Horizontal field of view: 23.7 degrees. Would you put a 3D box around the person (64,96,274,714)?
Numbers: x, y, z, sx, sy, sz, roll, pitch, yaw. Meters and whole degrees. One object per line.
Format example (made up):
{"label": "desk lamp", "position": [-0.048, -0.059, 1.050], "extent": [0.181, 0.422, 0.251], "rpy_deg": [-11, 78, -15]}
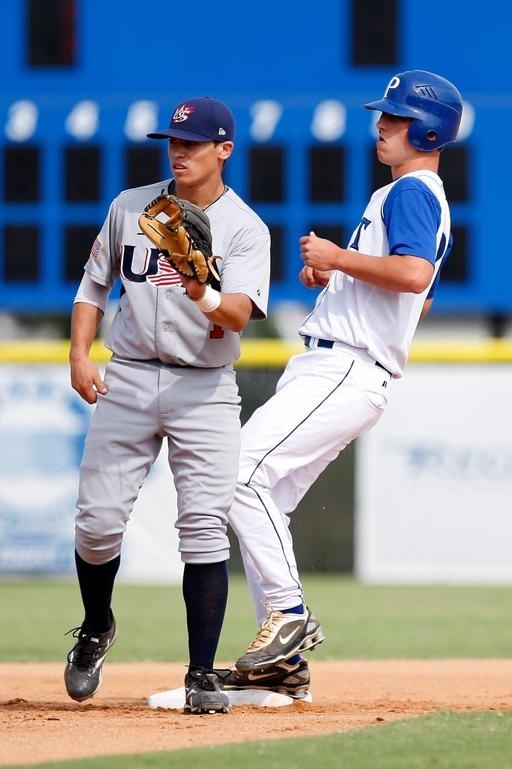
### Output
{"label": "person", "position": [-0.309, 0.045, 3.456], "extent": [0.650, 1.742, 0.415], "rpy_deg": [-3, -7, 27]}

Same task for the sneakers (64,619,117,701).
{"label": "sneakers", "position": [-0.503, 0.795, 3.614], "extent": [0.118, 0.258, 0.114], "rpy_deg": [8, -31, 5]}

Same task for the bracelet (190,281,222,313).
{"label": "bracelet", "position": [-0.123, -0.221, 3.185], "extent": [0.076, 0.073, 0.061], "rpy_deg": [36, -17, 7]}

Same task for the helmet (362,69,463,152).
{"label": "helmet", "position": [0.465, -0.845, 3.766], "extent": [0.315, 0.207, 0.227], "rpy_deg": [4, 4, -9]}

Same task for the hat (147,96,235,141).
{"label": "hat", "position": [-0.177, -0.742, 3.456], "extent": [0.236, 0.101, 0.138], "rpy_deg": [-1, 9, -22]}
